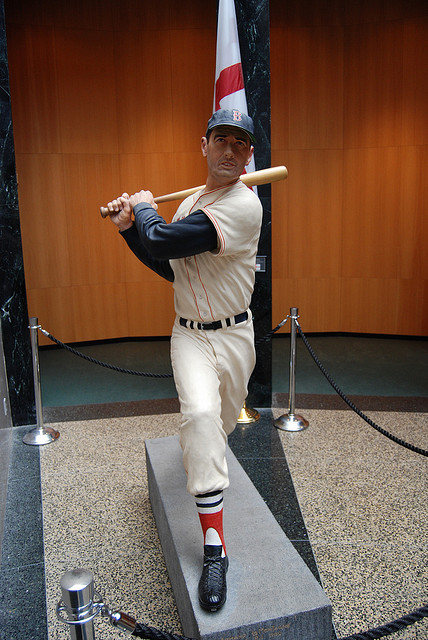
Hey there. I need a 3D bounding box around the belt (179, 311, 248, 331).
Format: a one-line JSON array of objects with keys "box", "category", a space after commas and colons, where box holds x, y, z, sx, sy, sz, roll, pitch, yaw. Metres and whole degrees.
[{"box": [0.003, 0.007, 1.950, 0.264, 0.053, 0.102, -3, 9, -8], "category": "belt"}]

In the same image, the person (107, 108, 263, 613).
[{"box": [-0.098, 0.061, 1.818, 0.538, 1.562, 0.801, -1, 8, 4], "category": "person"}]
